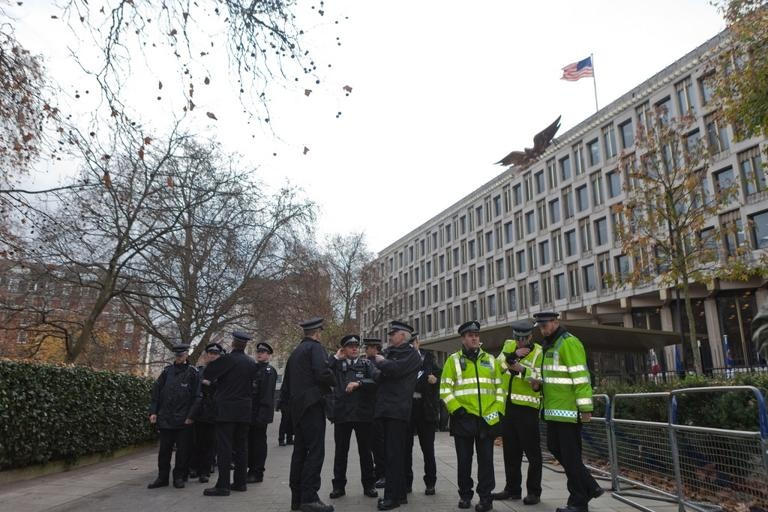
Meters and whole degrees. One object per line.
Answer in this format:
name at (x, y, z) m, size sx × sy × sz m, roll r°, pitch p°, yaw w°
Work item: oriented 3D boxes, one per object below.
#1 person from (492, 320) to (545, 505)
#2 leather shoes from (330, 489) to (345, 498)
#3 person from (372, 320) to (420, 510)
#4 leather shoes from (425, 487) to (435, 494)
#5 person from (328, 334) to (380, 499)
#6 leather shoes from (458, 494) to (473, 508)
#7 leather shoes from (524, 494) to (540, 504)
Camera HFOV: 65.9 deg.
person at (2.861, 3.218, 12.435) m, size 1.048 × 3.532 × 1.269 m, roll -1°, pitch -1°, yaw 5°
leather shoes at (-0.970, 4.997, 12.455) m, size 0.124 × 0.133 × 0.345 m, roll -8°, pitch -23°, yaw 18°
person at (0.349, 3.112, 11.967) m, size 1.066 × 3.477 × 0.911 m, roll -3°, pitch -1°, yaw -2°
leather shoes at (0.989, 5.000, 12.605) m, size 0.173 × 0.175 × 0.110 m, roll -2°, pitch -17°, yaw 15°
person at (-0.664, 3.446, 12.939) m, size 1.076 × 3.232 × 1.271 m, roll -2°, pitch 1°, yaw -2°
leather shoes at (1.582, 4.787, 11.530) m, size 0.264 × 0.245 × 0.343 m, roll -1°, pitch -19°, yaw 6°
leather shoes at (2.915, 4.843, 11.799) m, size 0.347 × 0.150 × 0.131 m, roll -8°, pitch -16°, yaw 36°
